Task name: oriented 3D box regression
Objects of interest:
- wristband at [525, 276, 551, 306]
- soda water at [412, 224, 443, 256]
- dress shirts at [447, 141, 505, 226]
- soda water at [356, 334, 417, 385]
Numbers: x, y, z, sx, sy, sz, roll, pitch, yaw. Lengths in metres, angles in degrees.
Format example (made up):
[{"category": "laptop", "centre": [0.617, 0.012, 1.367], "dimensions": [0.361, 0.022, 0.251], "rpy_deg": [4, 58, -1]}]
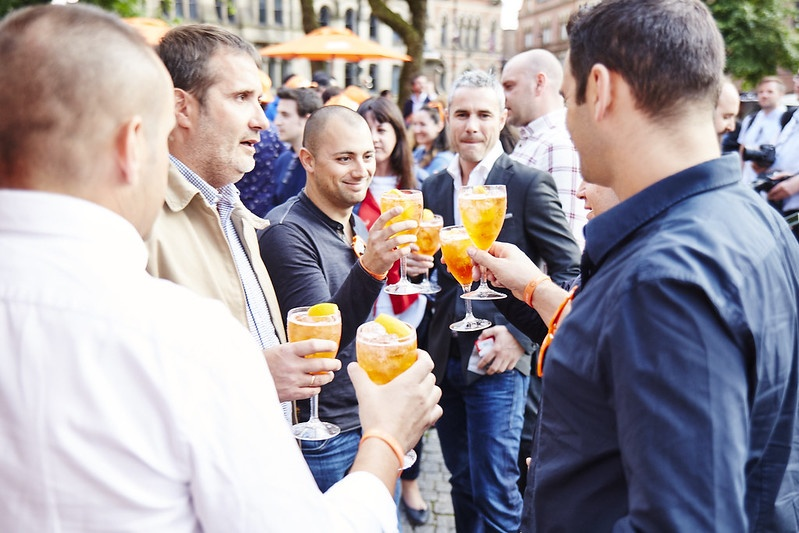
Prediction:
[{"category": "wristband", "centre": [0.630, 0.105, 3.612], "dimensions": [0.049, 0.134, 0.110], "rpy_deg": [15, 4, 36]}, {"category": "soda water", "centre": [0.146, -0.134, 4.332], "dimensions": [0.176, 0.184, 0.168], "rpy_deg": [2, -14, -2]}, {"category": "dress shirts", "centre": [0.526, -0.581, 4.944], "dimensions": [0.363, 0.479, 0.511], "rpy_deg": [-14, 24, 19]}, {"category": "soda water", "centre": [-0.044, 0.331, 2.915], "dimensions": [0.201, 0.210, 0.198], "rpy_deg": [1, 0, 0]}]
